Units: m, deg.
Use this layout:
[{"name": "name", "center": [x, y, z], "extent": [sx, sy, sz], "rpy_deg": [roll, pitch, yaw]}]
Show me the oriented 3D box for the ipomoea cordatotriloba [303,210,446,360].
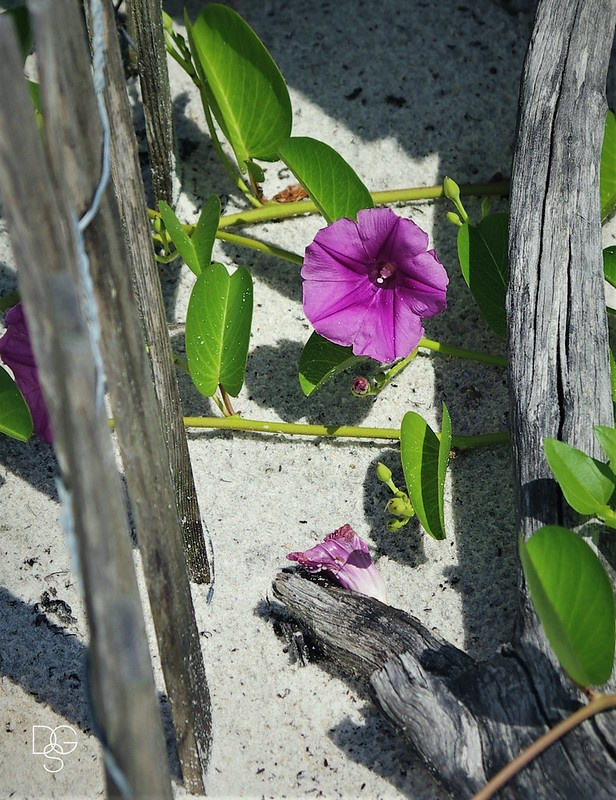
[{"name": "ipomoea cordatotriloba", "center": [0.095, -0.174, 1.343], "extent": [0.217, 0.228, 0.095], "rpy_deg": [-4, 8, 10]}]
